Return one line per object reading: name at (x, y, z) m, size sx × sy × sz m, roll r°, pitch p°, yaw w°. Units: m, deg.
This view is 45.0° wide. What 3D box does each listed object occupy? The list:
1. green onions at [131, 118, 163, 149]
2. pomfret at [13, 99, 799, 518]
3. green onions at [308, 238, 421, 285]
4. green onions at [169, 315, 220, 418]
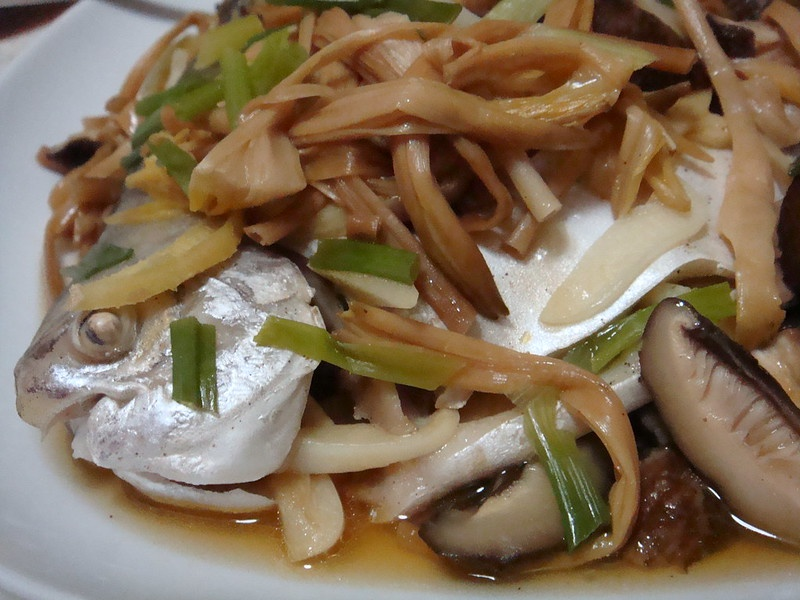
green onions at (-0.848, -0.563, 3.204) m, size 0.098 × 0.043 × 0.119 m, roll 32°, pitch 89°, yaw 50°
pomfret at (0.129, 0.037, 2.889) m, size 1.557 × 0.461 × 1.259 m, roll 10°, pitch 92°, yaw -1°
green onions at (-0.108, -0.114, 2.843) m, size 0.312 × 0.089 × 0.095 m, roll 10°, pitch 53°, yaw 18°
green onions at (-0.590, 0.189, 2.770) m, size 0.127 × 0.148 × 0.263 m, roll 1°, pitch 83°, yaw -34°
